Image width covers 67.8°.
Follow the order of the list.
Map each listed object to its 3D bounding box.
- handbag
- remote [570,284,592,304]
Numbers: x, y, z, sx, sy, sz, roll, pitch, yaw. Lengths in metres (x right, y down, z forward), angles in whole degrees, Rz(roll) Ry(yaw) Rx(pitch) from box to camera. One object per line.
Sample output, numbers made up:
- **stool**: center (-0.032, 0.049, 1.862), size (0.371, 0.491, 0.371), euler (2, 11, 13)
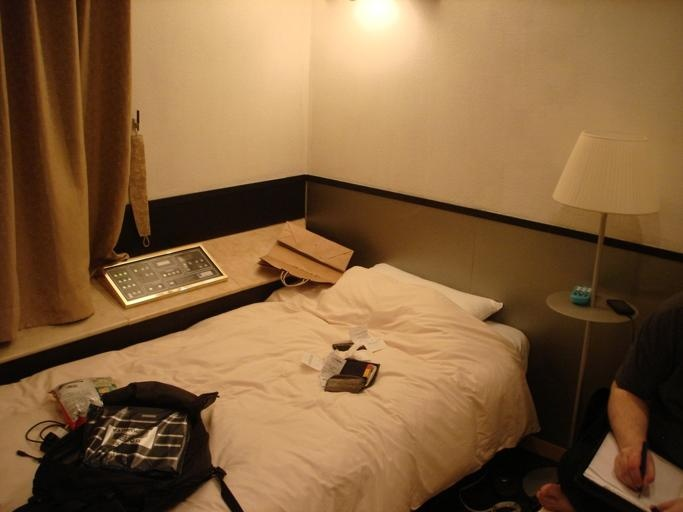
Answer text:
- **handbag**: center (-0.206, -0.009, 3.187), size (0.446, 0.311, 0.389), euler (10, 22, 19)
- **remote**: center (1.097, 0.164, 2.315), size (0.068, 0.038, 0.093), euler (7, 25, 45)
